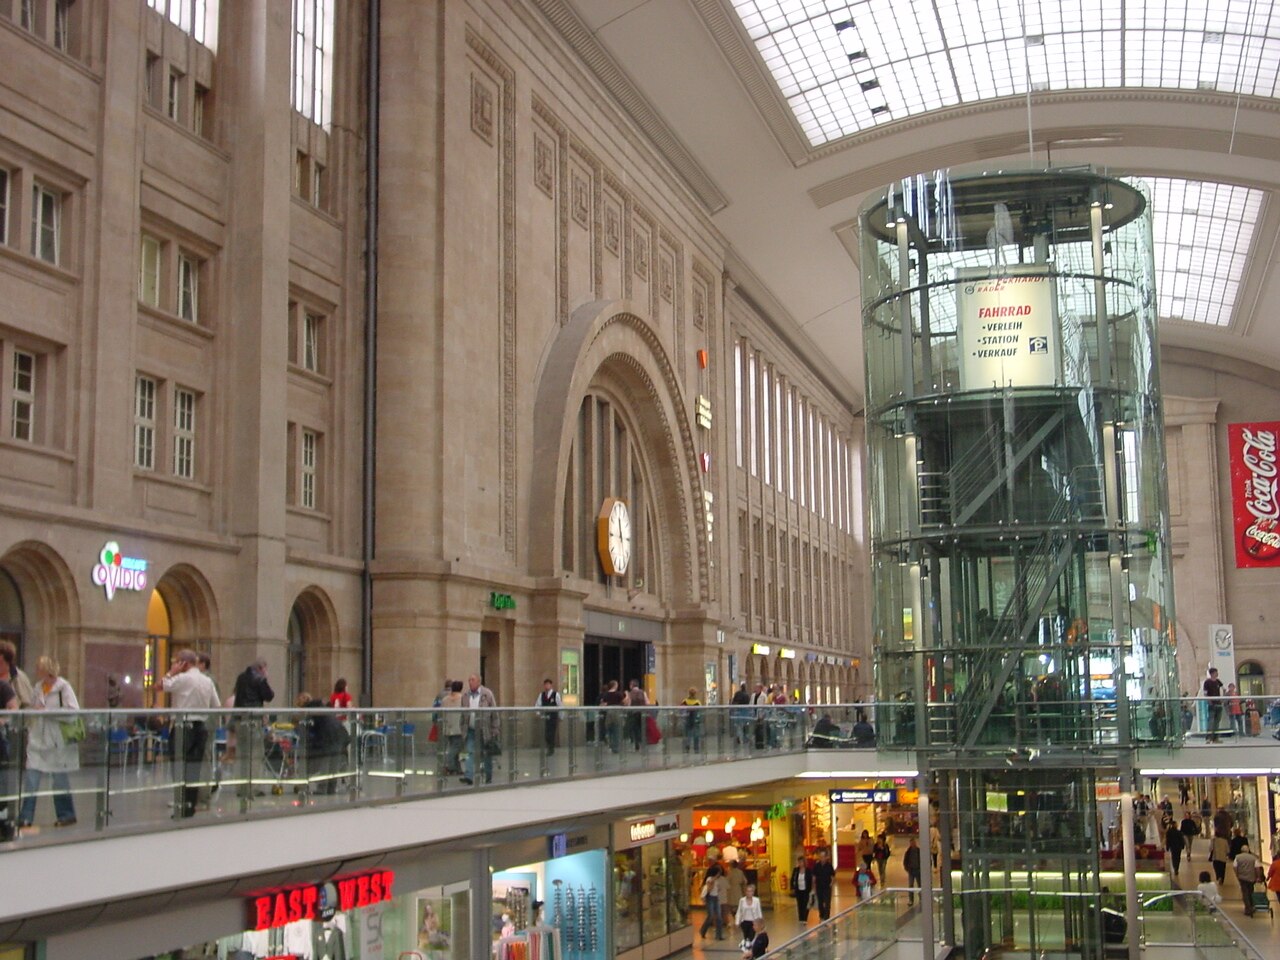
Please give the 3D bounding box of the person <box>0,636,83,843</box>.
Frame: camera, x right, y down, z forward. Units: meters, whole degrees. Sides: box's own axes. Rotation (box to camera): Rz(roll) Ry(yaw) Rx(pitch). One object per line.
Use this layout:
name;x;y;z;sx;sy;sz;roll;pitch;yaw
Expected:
person;-6.577;2.831;14.115;0.810;1.944;1.457;4;-15;-24

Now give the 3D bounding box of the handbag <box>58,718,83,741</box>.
handbag;-6.117;2.663;13.817;0.045;0.207;0.198;0;-1;37

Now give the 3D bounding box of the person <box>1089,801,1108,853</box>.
person;9.054;6.832;25.430;0.181;0.888;0.567;-10;-15;33

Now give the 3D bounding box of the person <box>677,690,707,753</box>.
person;0.899;5.042;26.448;0.711;1.515;0.765;0;-11;11
